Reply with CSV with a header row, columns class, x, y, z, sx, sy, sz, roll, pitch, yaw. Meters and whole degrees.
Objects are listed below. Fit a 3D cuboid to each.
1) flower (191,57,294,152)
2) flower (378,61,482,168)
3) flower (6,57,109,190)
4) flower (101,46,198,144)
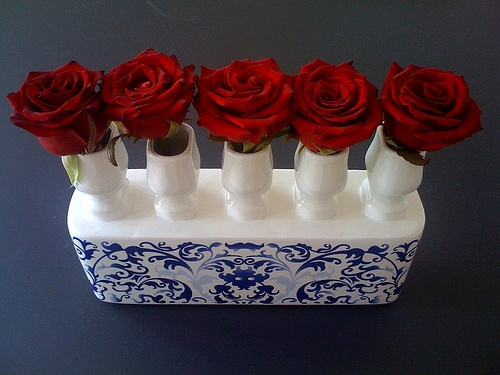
class,x,y,z,sx,sy,sz,roll,pitch,yaw
flower,-0.012,-0.142,0.987,0.186,0.184,0.135,0,20,4
flower,0.345,-0.131,0.999,0.185,0.200,0.130,7,22,20
flower,-0.328,-0.132,1.025,0.153,0.251,0.197,-1,48,6
flower,-0.192,-0.162,0.989,0.149,0.109,0.173,1,57,6
